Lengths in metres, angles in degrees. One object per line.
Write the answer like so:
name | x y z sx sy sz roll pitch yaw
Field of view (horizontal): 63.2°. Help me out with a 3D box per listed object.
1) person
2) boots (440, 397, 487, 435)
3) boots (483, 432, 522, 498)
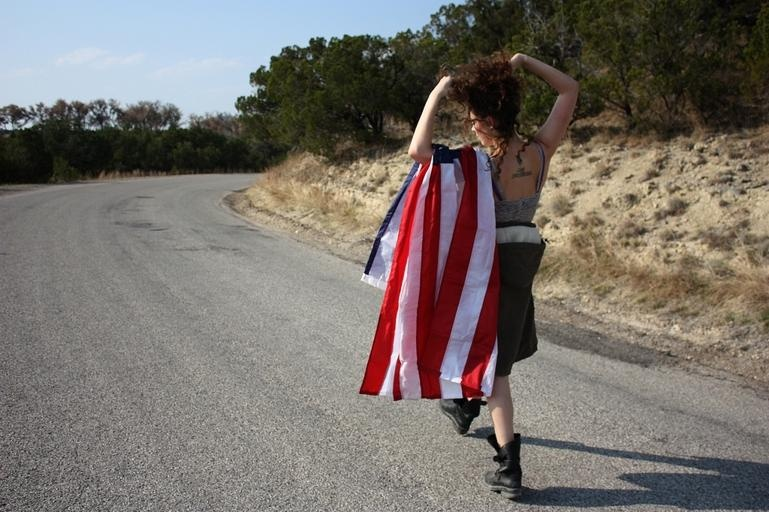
person | 1.121 0.173 6.374 1.423 4.327 0.887 4 10 10
boots | 0.850 1.751 6.882 0.201 0.404 0.374 -19 -18 -42
boots | 1.194 2.124 6.401 0.260 0.544 0.458 -3 -3 -36
